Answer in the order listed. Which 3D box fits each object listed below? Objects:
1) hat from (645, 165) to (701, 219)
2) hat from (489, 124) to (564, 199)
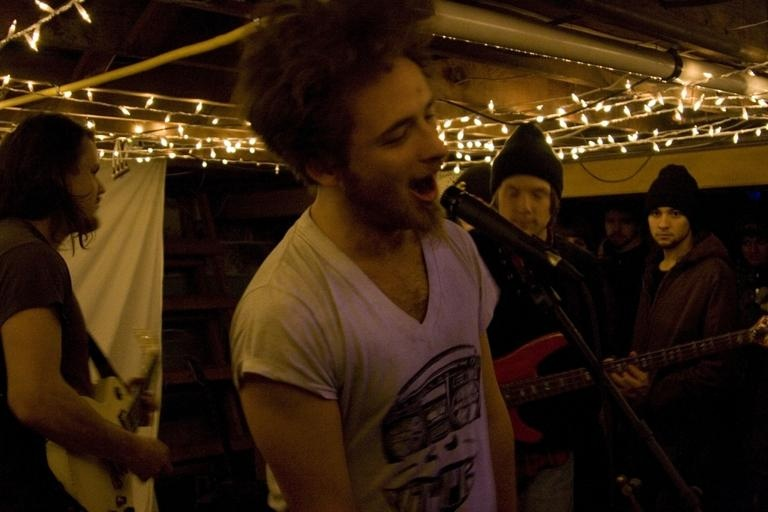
[{"bbox_3d":[2.377,-0.494,4.909,0.365,0.448,0.479,-6,-19,38],"label":"hat"},{"bbox_3d":[0.842,-0.541,3.533,0.373,0.389,0.415,2,-27,6],"label":"hat"}]
